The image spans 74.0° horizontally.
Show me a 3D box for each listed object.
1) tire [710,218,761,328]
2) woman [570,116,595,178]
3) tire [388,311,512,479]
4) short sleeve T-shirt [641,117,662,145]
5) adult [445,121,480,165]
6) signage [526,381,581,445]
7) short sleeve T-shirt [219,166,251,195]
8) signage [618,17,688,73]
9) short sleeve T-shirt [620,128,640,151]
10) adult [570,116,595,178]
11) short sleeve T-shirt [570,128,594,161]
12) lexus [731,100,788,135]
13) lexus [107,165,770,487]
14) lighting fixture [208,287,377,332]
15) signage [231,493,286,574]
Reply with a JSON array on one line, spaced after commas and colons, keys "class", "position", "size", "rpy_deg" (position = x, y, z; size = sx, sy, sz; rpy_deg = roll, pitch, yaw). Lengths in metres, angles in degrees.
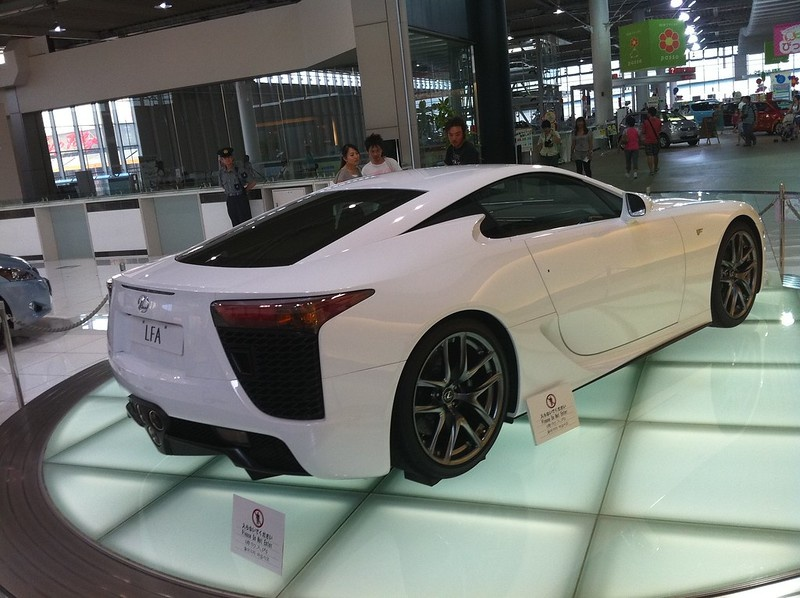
[{"class": "tire", "position": [2.541, -0.228, 4.046], "size": [0.199, 0.611, 0.592], "rpy_deg": [2, 36, 39]}, {"class": "woman", "position": [5.028, -4.079, 14.740], "size": [0.530, 1.852, 0.436], "rpy_deg": [-12, 23, 3]}, {"class": "tire", "position": [0.254, 0.468, 2.562], "size": [0.780, 0.796, 0.124], "rpy_deg": [-14, 16, -34]}, {"class": "short sleeve T-shirt", "position": [7.759, -5.182, 16.359], "size": [0.462, 0.829, 0.427], "rpy_deg": [0, 13, 19]}, {"class": "adult", "position": [0.710, -1.850, 6.203], "size": [0.351, 0.529, 0.611], "rpy_deg": [-3, 14, 8]}, {"class": "signage", "position": [0.815, 0.608, 2.845], "size": [0.291, 0.266, 0.040], "rpy_deg": [-23, 16, -32]}, {"class": "short sleeve T-shirt", "position": [-3.219, -2.321, 10.336], "size": [0.524, 0.523, 0.284], "rpy_deg": [1, 5, 5]}, {"class": "signage", "position": [13.945, -13.915, 29.832], "size": [2.939, 2.953, 3.153], "rpy_deg": [-4, 6, -18]}, {"class": "short sleeve T-shirt", "position": [6.994, -4.824, 16.002], "size": [0.393, 0.687, 1.219], "rpy_deg": [0, 15, 22]}, {"class": "adult", "position": [5.029, -4.058, 14.738], "size": [0.551, 1.911, 0.515], "rpy_deg": [-14, 25, -1]}, {"class": "short sleeve T-shirt", "position": [5.047, -4.239, 14.759], "size": [0.486, 0.764, 0.731], "rpy_deg": [-1, 14, 18]}, {"class": "lexus", "position": [18.551, -9.247, 27.246], "size": [2.001, 1.660, 5.850], "rpy_deg": [2, 16, 28]}, {"class": "lexus", "position": [0.324, -0.008, 3.123], "size": [3.580, 1.449, 1.203], "rpy_deg": [-15, 16, -33]}, {"class": "lighting fixture", "position": [-0.456, 0.054, 2.203], "size": [0.685, 0.130, 0.130], "rpy_deg": [-5, 13, 4]}, {"class": "signage", "position": [-0.615, 1.013, 2.265], "size": [0.267, 0.251, 0.019], "rpy_deg": [5, 7, 41]}]
